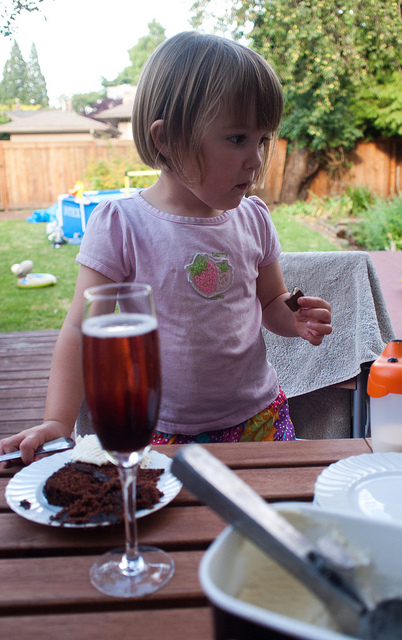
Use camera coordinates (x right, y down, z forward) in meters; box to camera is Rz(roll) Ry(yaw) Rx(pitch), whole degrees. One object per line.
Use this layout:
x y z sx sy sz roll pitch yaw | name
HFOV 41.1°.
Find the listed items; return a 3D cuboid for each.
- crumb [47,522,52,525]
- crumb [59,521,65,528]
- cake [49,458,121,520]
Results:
-0.152 0.202 0.536 0.003 0.002 0.004 1 0 -6 | crumb
-0.140 0.204 0.536 0.005 0.005 0.009 -3 11 -13 | crumb
-0.129 0.153 0.590 0.090 0.023 0.087 -2 21 -17 | cake
